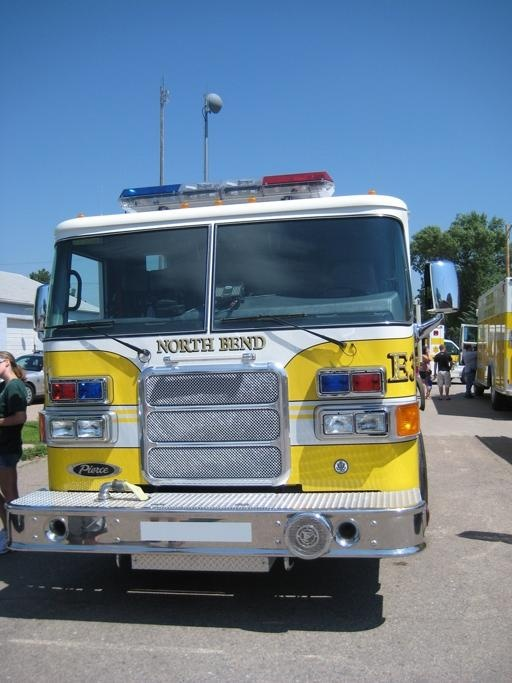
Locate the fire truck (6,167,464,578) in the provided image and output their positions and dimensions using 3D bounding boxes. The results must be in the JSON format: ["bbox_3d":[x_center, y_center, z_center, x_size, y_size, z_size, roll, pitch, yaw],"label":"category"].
[{"bbox_3d":[0.112,0.197,5.565,2.019,1.742,3.620,-1,-1,13],"label":"fire truck"}]
